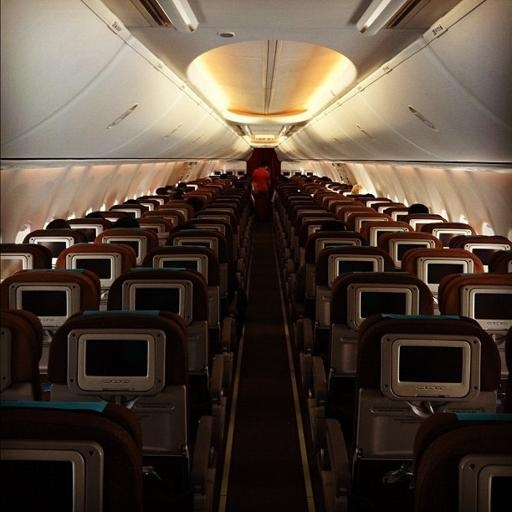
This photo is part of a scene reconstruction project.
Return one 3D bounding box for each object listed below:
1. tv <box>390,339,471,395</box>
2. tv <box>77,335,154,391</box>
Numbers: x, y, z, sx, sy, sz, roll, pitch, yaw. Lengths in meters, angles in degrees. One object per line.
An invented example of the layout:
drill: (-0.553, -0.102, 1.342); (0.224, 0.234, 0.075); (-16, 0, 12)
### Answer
tv: (0.972, 0.599, 2.606); (0.345, 0.249, 0.044); (0, 4, 6)
tv: (-0.774, 0.568, 2.552); (0.336, 0.229, 0.034); (0, 1, -1)
